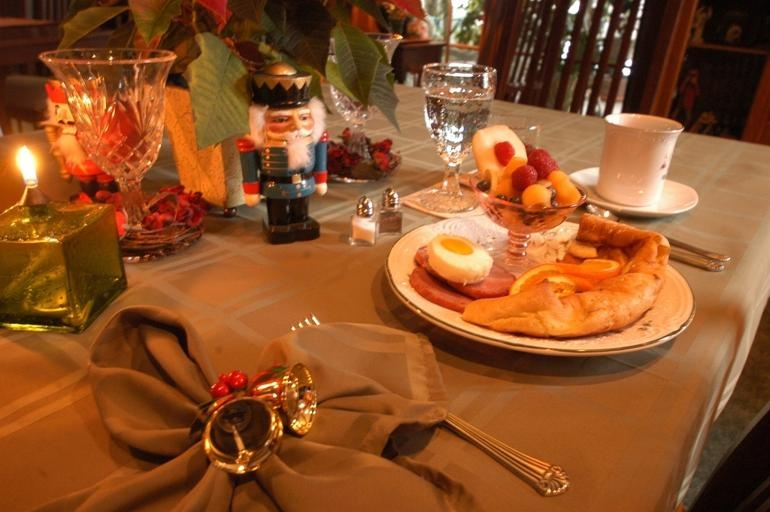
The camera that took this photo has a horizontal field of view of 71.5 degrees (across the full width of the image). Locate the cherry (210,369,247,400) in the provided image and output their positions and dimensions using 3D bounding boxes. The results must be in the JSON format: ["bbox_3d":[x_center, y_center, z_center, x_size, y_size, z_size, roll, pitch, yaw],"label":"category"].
[{"bbox_3d":[-0.182,0.150,0.623,0.033,0.014,0.032,-19,12,-18],"label":"cherry"}]

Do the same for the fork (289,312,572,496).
[{"bbox_3d":[0.075,0.169,0.650,0.048,0.018,0.322,-36,45,-27],"label":"fork"}]

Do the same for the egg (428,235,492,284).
[{"bbox_3d":[0.108,0.000,0.780,0.073,0.022,0.075,23,34,24],"label":"egg"}]

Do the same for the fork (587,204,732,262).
[{"bbox_3d":[0.474,-0.038,0.938,0.225,0.010,0.032,27,64,22],"label":"fork"}]

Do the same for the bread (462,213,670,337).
[{"bbox_3d":[0.285,-0.021,0.721,0.177,0.065,0.261,11,35,31],"label":"bread"}]

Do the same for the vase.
[{"bbox_3d":[-0.300,-0.197,0.946,0.142,0.195,0.161,-30,43,-33],"label":"vase"}]

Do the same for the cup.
[{"bbox_3d":[0.458,-0.190,1.094,0.196,0.183,0.162,2,29,6],"label":"cup"}]

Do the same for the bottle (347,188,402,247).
[{"bbox_3d":[-0.019,-0.066,0.984,0.112,0.096,0.058,-11,35,-21],"label":"bottle"}]

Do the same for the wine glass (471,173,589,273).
[{"bbox_3d":[0.218,-0.047,0.912,0.162,0.122,0.166,28,35,31],"label":"wine glass"}]
